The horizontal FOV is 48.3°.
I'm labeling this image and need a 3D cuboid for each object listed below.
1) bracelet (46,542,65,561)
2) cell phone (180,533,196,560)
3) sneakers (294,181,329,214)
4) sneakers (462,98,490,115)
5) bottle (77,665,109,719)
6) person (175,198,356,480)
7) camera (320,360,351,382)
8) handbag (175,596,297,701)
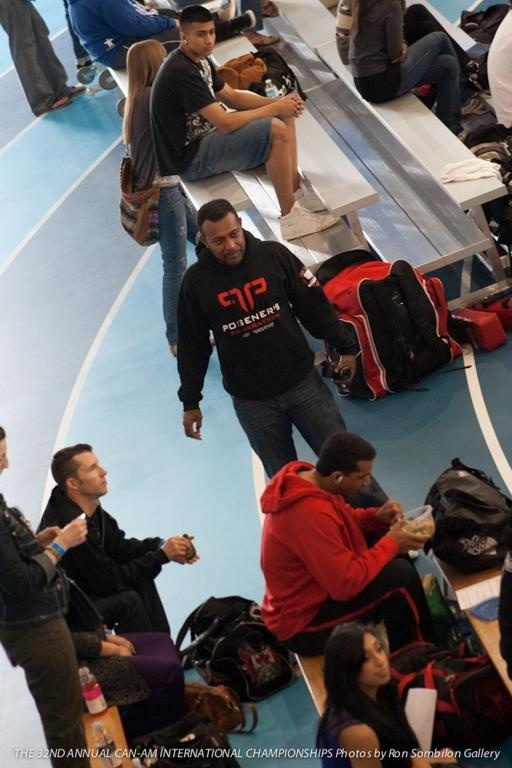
[{"bbox_3d":[-0.816,0.701,2.356,0.069,0.074,0.072,-49,36,29],"label":"bracelet"},{"bbox_3d":[-0.388,0.966,3.373,0.106,0.162,0.042,-2,2,-8],"label":"cell phone"},{"bbox_3d":[0.457,-1.590,4.984,0.179,0.396,0.141,-53,10,20],"label":"sneakers"},{"bbox_3d":[2.398,-3.024,6.234,0.259,0.095,0.204,-10,29,-11],"label":"sneakers"},{"bbox_3d":[-0.646,1.207,2.222,0.068,0.203,0.112,-25,5,-31],"label":"bottle"},{"bbox_3d":[-0.029,-0.219,3.112,0.984,1.505,0.395,-22,4,9],"label":"person"},{"bbox_3d":[0.437,-0.061,3.214,0.143,0.104,0.104,31,29,23],"label":"camera"},{"bbox_3d":[-0.116,1.414,3.051,0.448,0.218,0.512,-31,44,-13],"label":"handbag"}]
